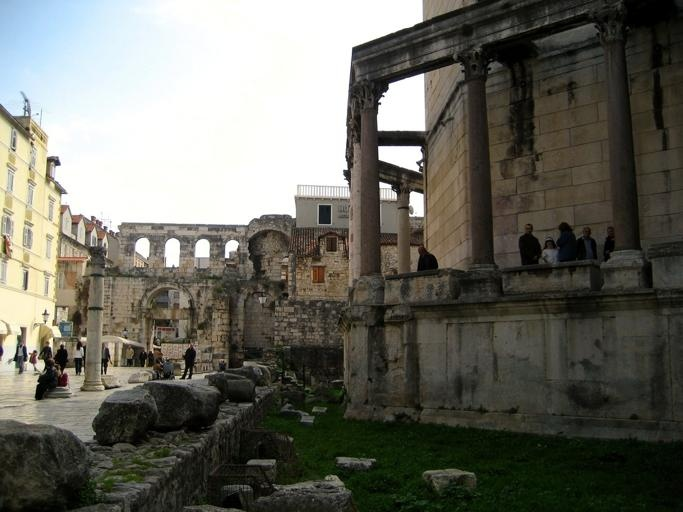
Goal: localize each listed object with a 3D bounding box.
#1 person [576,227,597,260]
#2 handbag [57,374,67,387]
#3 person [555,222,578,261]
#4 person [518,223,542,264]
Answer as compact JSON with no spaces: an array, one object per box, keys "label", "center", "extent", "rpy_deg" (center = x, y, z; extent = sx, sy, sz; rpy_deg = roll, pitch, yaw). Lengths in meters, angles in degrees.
[{"label":"person","center":[5.609,-0.299,17.620],"extent":[0.400,0.849,0.677],"rpy_deg":[-5,-12,19]},{"label":"handbag","center":[-7.640,3.382,20.924],"extent":[0.212,0.371,0.750],"rpy_deg":[2,-12,-15]},{"label":"person","center":[5.142,-0.310,17.485],"extent":[0.297,0.350,0.872],"rpy_deg":[-4,25,25]},{"label":"person","center":[4.438,-0.260,17.978],"extent":[0.485,1.018,0.550],"rpy_deg":[-1,-11,-1]}]
